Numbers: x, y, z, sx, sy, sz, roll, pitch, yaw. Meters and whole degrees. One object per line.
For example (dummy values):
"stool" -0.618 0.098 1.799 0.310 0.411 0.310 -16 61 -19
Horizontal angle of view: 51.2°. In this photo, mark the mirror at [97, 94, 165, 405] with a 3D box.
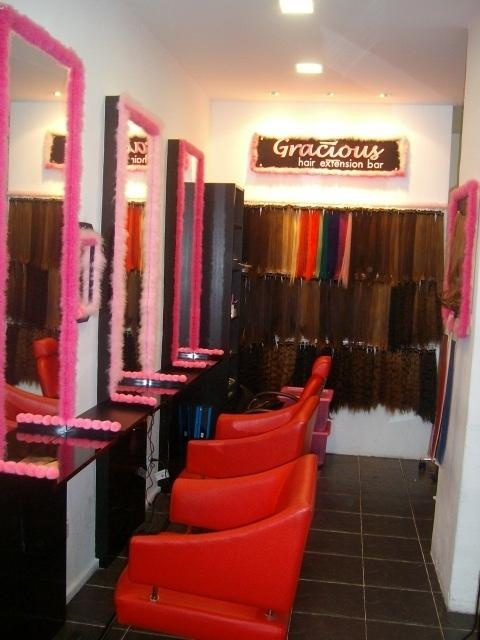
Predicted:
"mirror" -0.508 -0.311 2.342 0.179 1.350 0.580 3 2 1

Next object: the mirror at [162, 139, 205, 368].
"mirror" -0.313 -0.410 3.135 0.272 1.410 0.534 3 2 1
